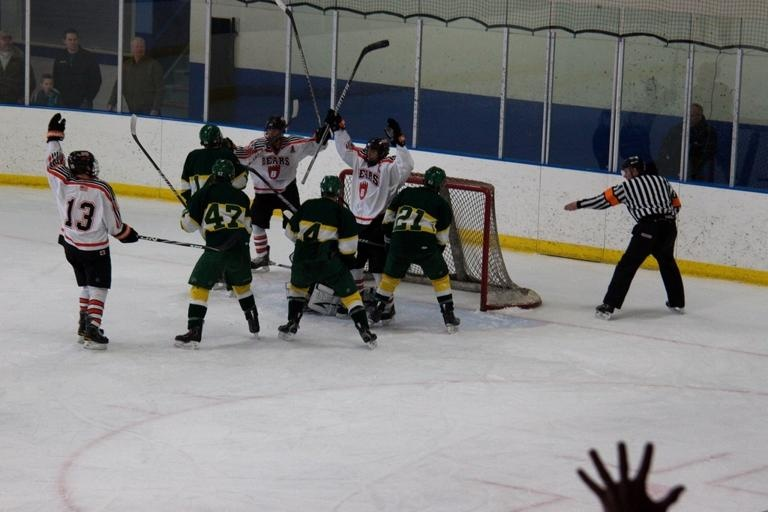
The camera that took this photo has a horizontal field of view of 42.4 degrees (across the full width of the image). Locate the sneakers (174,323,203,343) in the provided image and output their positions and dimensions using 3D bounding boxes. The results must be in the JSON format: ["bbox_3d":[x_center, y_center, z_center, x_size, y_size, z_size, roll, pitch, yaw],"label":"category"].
[{"bbox_3d":[-1.611,0.627,8.136,0.208,0.181,0.156,3,11,-11],"label":"sneakers"}]

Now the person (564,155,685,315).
[{"bbox_3d":[2.397,-0.171,9.350,1.046,1.494,0.425,0,12,-25],"label":"person"}]

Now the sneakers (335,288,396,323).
[{"bbox_3d":[-0.126,0.456,9.021,0.295,0.195,0.478,4,-6,-19],"label":"sneakers"}]

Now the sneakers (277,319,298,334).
[{"bbox_3d":[-0.820,0.606,8.387,0.084,0.078,0.199,3,5,-29],"label":"sneakers"}]

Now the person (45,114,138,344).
[{"bbox_3d":[-2.462,-0.097,8.214,0.647,1.541,0.929,1,12,-23],"label":"person"}]

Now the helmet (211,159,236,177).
[{"bbox_3d":[-1.353,-0.744,8.274,0.159,0.161,0.199,8,10,0],"label":"helmet"}]

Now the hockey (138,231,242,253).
[{"bbox_3d":[-1.900,-0.130,9.522,0.956,0.106,0.128,7,45,31],"label":"hockey"}]

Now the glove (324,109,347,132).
[{"bbox_3d":[-0.515,-1.329,9.569,0.208,0.241,0.123,16,-25,-36],"label":"glove"}]

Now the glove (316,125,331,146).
[{"bbox_3d":[-0.628,-1.217,9.992,0.179,0.166,0.202,2,25,-5],"label":"glove"}]

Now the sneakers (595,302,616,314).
[{"bbox_3d":[2.058,0.503,9.248,0.157,0.128,0.091,26,1,20],"label":"sneakers"}]

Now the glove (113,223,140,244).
[{"bbox_3d":[-2.116,-0.196,8.116,0.189,0.138,0.069,29,35,-39],"label":"glove"}]

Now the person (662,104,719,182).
[{"bbox_3d":[3.425,-1.083,10.947,0.561,1.110,0.391,-4,18,17],"label":"person"}]

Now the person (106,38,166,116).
[{"bbox_3d":[-3.215,-2.355,13.038,0.606,0.978,0.206,3,11,-10],"label":"person"}]

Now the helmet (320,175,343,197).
[{"bbox_3d":[-0.453,-0.584,8.403,0.193,0.204,0.219,5,35,-2],"label":"helmet"}]

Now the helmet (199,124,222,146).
[{"bbox_3d":[-1.667,-1.153,9.322,0.204,0.215,0.234,0,0,0],"label":"helmet"}]

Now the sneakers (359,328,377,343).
[{"bbox_3d":[-0.133,0.669,8.261,0.093,0.068,0.153,26,5,-13],"label":"sneakers"}]

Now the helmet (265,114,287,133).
[{"bbox_3d":[-1.085,-1.322,9.880,0.167,0.159,0.184,0,-10,4],"label":"helmet"}]

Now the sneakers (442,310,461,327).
[{"bbox_3d":[0.594,0.554,8.760,0.091,0.143,0.217,-4,17,21],"label":"sneakers"}]

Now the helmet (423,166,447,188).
[{"bbox_3d":[0.443,-0.698,8.744,0.182,0.166,0.201,10,32,7],"label":"helmet"}]

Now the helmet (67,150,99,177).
[{"bbox_3d":[-2.424,-0.753,8.091,0.269,0.214,0.198,-3,15,-30],"label":"helmet"}]
